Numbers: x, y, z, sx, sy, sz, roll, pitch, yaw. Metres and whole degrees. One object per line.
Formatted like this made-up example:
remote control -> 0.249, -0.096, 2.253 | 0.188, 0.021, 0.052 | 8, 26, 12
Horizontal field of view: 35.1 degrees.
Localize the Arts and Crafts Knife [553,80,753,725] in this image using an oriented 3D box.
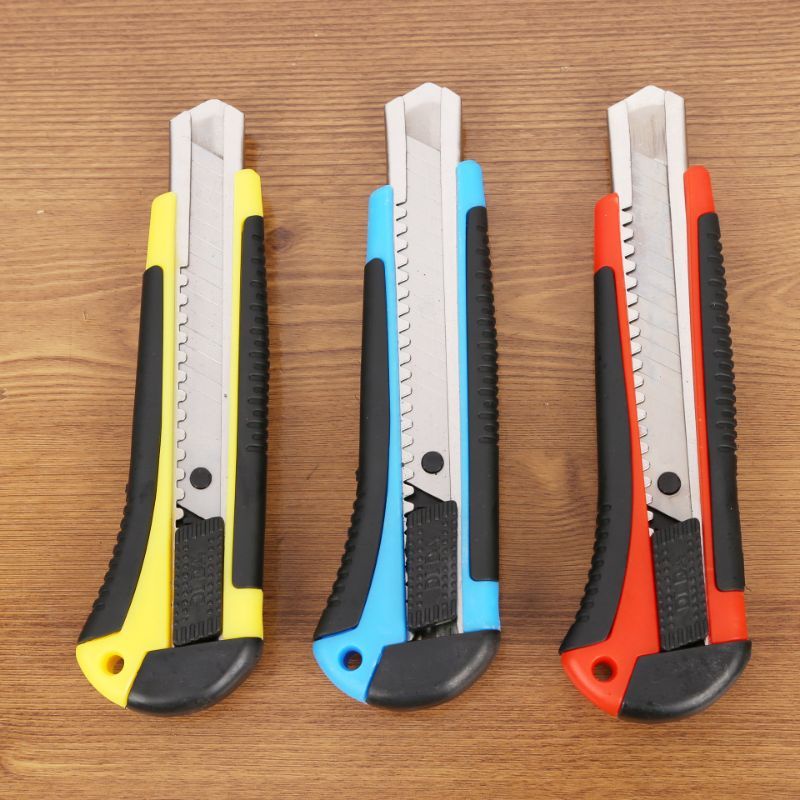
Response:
Arts and Crafts Knife -> 0.239, 0.029, 1.190 | 0.238, 0.058, 0.597 | 1, 83, 8
